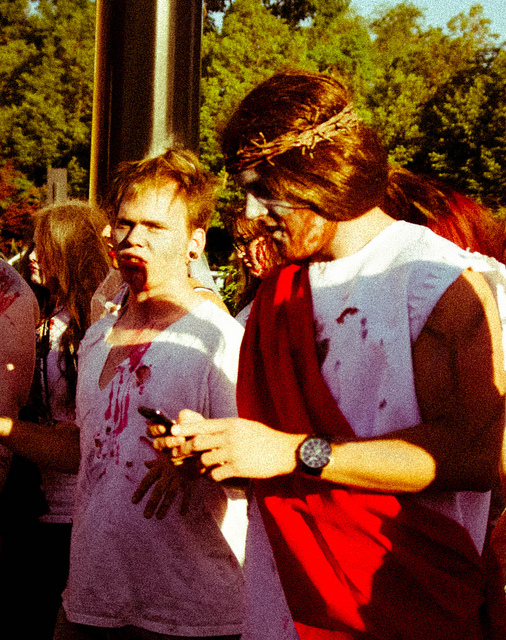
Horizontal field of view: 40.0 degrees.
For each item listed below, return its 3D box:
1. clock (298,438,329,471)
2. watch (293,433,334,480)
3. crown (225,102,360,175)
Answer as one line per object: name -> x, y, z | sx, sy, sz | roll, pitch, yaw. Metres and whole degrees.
clock -> 0.102, 0.222, 1.152 | 0.055, 0.049, 0.014 | -2, -9, 19
watch -> 0.113, 0.222, 1.196 | 0.059, 0.077, 0.076 | 14, -25, 20
crown -> 0.079, -0.327, 1.350 | 0.273, 0.094, 0.100 | -19, 39, 13
